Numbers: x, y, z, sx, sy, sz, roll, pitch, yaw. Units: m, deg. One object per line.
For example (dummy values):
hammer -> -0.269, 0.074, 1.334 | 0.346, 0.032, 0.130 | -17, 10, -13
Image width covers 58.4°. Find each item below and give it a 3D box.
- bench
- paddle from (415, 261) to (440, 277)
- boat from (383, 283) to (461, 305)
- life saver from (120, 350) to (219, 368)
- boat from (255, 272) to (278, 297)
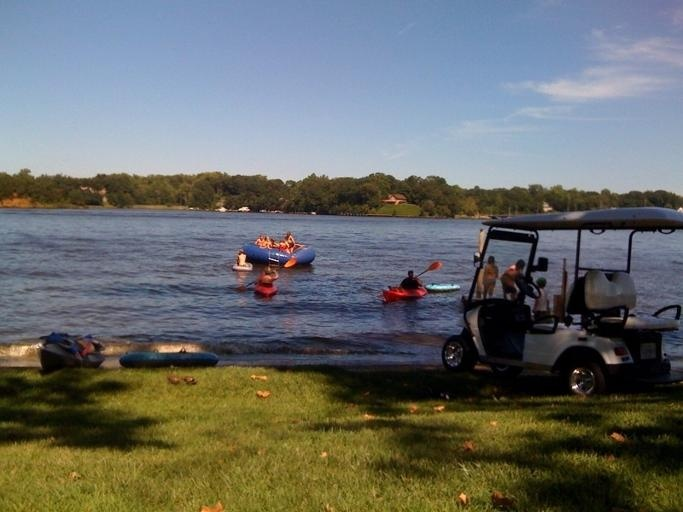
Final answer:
bench -> 4.668, 0.757, 10.644 | 1.865, 1.087, 1.650 | -4, 2, -31
paddle -> 5.391, 0.911, 38.960 | 2.121, 0.304, 0.155 | -28, -7, -35
boat -> 3.642, 1.715, 28.650 | 1.327, 0.657, 4.581 | -1, 0, 41
life saver -> -3.937, 2.334, 13.725 | 1.716, 0.374, 1.348 | -4, 2, -24
boat -> -3.631, 1.375, 29.042 | 0.918, 1.155, 1.414 | -1, 0, -20
